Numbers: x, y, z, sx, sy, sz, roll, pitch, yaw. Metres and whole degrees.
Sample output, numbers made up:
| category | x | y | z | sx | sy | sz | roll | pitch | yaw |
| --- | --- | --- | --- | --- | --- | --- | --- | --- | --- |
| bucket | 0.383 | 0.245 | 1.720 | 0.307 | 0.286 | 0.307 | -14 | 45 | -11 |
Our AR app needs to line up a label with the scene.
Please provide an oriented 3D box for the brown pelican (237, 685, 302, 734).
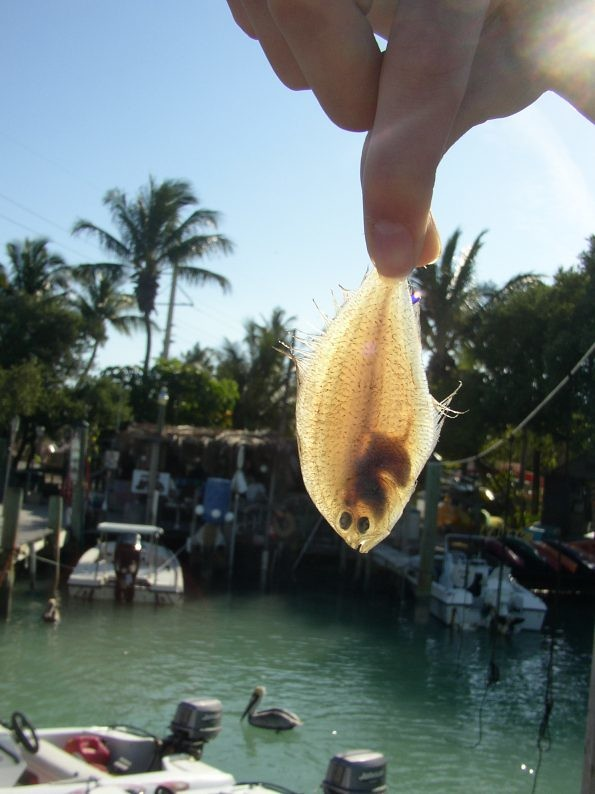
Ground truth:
| category | x | y | z | sx | sy | sz | roll | pitch | yaw |
| --- | --- | --- | --- | --- | --- | --- | --- | --- | --- |
| brown pelican | -0.392 | 4.531 | 9.775 | 1.025 | 0.739 | 0.388 | -4 | -17 | 22 |

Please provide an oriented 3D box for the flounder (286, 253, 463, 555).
| category | x | y | z | sx | sy | sz | roll | pitch | yaw |
| --- | --- | --- | --- | --- | --- | --- | --- | --- | --- |
| flounder | 0.132 | 0.022 | 1.034 | 0.287 | 0.457 | 0.355 | 5 | -6 | -4 |

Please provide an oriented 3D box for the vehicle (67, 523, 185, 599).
| category | x | y | z | sx | sy | sz | roll | pitch | yaw |
| --- | --- | --- | --- | --- | --- | --- | --- | --- | --- |
| vehicle | -4.317 | 4.151 | 17.419 | 2.660 | 1.801 | 2.359 | 7 | -6 | -15 |
